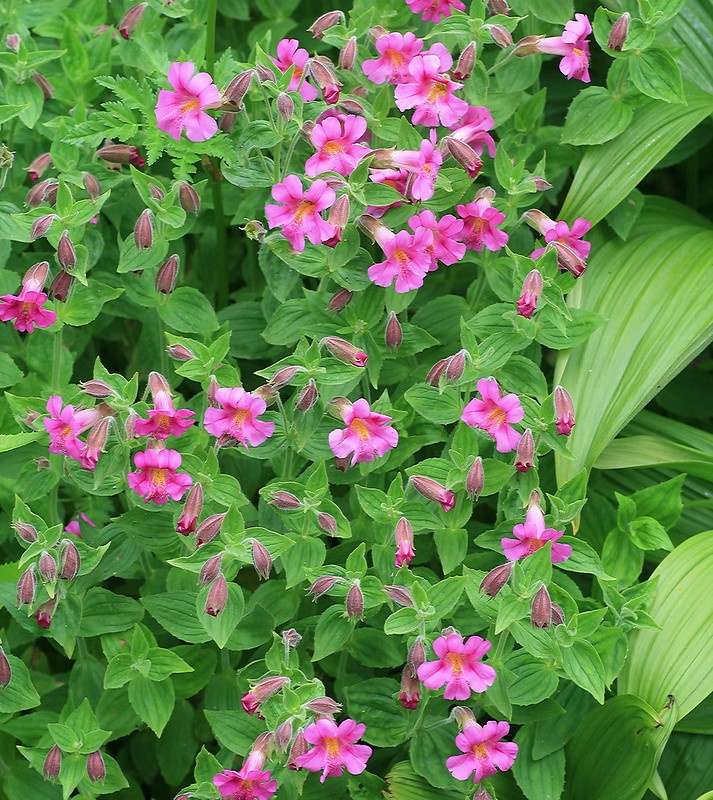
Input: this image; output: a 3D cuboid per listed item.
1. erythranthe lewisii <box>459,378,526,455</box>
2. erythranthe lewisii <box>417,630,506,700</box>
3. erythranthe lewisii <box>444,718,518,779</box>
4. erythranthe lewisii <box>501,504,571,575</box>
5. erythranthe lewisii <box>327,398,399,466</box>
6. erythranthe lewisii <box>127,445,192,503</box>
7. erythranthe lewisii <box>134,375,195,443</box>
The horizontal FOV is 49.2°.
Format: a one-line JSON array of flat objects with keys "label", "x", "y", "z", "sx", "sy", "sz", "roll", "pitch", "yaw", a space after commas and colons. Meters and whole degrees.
[{"label": "erythranthe lewisii", "x": 0.247, "y": 0.011, "z": 1.364, "sx": 0.107, "sy": 0.125, "sz": 0.135, "roll": 20, "pitch": 30, "yaw": 7}, {"label": "erythranthe lewisii", "x": 0.153, "y": 0.405, "z": 1.197, "sx": 0.119, "sy": 0.123, "sz": 0.041, "roll": 15, "pitch": 15, "yaw": -4}, {"label": "erythranthe lewisii", "x": 0.208, "y": 0.543, "z": 1.291, "sx": 0.115, "sy": 0.111, "sz": 0.038, "roll": -19, "pitch": 38, "yaw": -18}, {"label": "erythranthe lewisii", "x": 0.296, "y": 0.221, "z": 1.299, "sx": 0.096, "sy": 0.087, "sz": 0.108, "roll": -5, "pitch": 8, "yaw": -4}, {"label": "erythranthe lewisii", "x": 0.001, "y": 0.052, "z": 1.305, "sx": 0.121, "sy": 0.057, "sz": 0.136, "roll": -14, "pitch": 52, "yaw": -16}, {"label": "erythranthe lewisii", "x": -0.310, "y": 0.123, "z": 1.227, "sx": 0.112, "sy": 0.041, "sz": 0.102, "roll": -7, "pitch": 70, "yaw": -40}, {"label": "erythranthe lewisii", "x": -0.309, "y": 0.030, "z": 1.250, "sx": 0.082, "sy": 0.067, "sz": 0.108, "roll": 5, "pitch": 61, "yaw": -31}]
